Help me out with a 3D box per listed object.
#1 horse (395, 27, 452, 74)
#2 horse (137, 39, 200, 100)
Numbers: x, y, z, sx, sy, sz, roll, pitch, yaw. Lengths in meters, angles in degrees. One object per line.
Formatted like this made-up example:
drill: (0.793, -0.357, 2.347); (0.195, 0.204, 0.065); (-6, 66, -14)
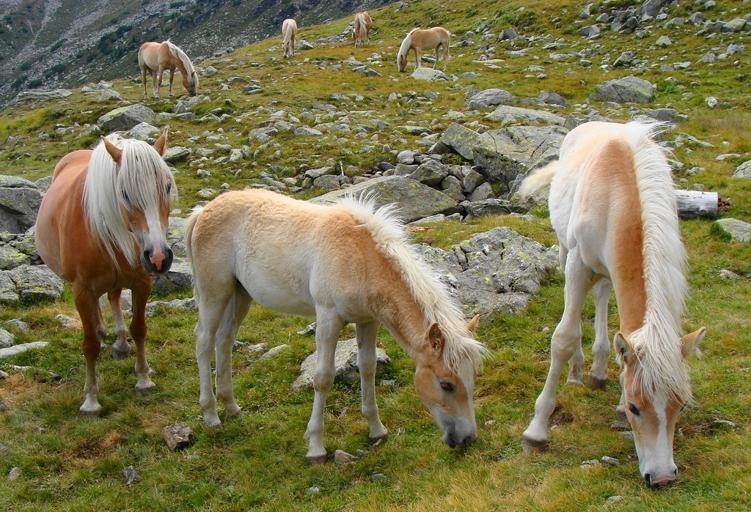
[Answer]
horse: (2.735, -11.643, 43.526); (3.953, 2.397, 0.926); (-21, 23, -30)
horse: (-10.561, -9.306, 38.464); (4.286, 2.767, 1.092); (20, 27, 28)
